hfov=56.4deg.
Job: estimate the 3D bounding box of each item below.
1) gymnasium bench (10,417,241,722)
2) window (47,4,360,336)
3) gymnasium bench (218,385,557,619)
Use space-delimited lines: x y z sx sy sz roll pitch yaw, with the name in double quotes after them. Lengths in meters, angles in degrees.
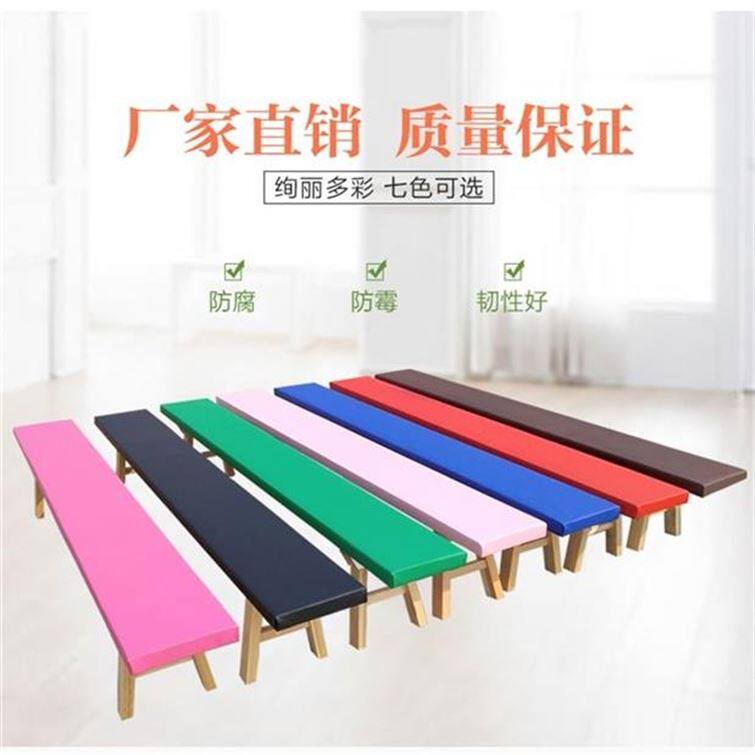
-0.592 0.411 1.626 0.174 0.228 1.002 -9 25 -32 "gymnasium bench"
-1.331 -1.626 5.614 2.287 2.665 0.792 1 7 4 "window"
-0.129 0.284 2.349 0.342 0.438 1.715 -11 23 -32 "gymnasium bench"
